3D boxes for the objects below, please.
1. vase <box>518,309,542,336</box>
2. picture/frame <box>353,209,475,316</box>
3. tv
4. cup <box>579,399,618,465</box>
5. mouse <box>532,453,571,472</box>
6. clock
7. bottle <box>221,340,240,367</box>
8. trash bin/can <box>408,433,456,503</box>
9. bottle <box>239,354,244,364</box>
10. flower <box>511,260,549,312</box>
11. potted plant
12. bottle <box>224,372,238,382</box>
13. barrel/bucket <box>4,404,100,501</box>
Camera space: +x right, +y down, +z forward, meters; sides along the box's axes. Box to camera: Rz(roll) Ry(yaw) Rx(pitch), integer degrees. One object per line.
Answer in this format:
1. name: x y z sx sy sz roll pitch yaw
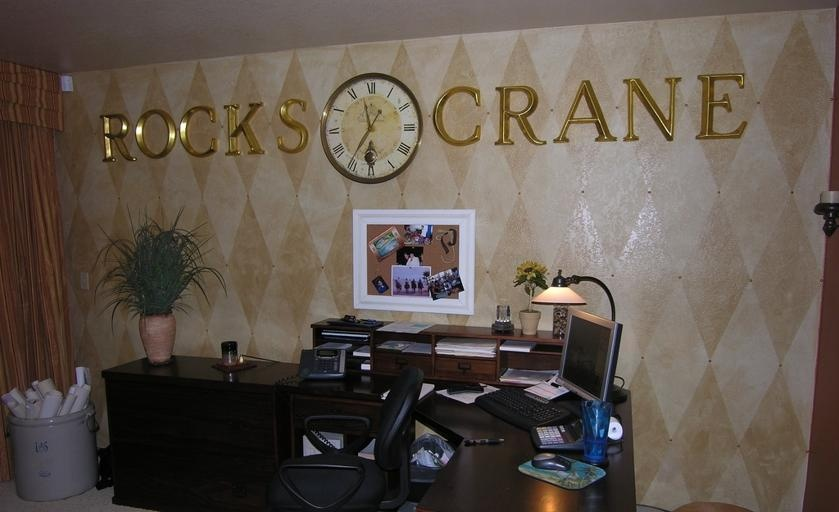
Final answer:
1. vase: 0.917 0.564 5.503 0.201 0.215 0.202 -1 -4 17
2. picture/frame: -0.010 0.038 5.865 0.963 0.769 0.046 0 5 11
3. tv: 1.256 0.834 4.907 0.313 0.687 0.595 12 10 -27
4. cup: 1.229 1.193 4.482 0.247 0.412 0.138 0 3 -19
5. mouse: 0.874 1.358 4.365 0.189 0.057 0.114 -2 3 16
6. clock: -0.396 -1.148 5.886 1.011 1.010 0.140 1 4 5
7. bottle: -1.729 0.854 5.910 0.195 0.315 0.218 -1 3 -18
8. trash bin/can: 0.083 1.729 5.433 0.291 0.393 0.400 -6 -4 29
9. bottle: -1.651 0.949 6.029 0.042 0.058 0.058 0 3 0
10. flower: 0.948 0.245 5.585 0.273 0.338 0.294 6 3 21
11. potted plant: -2.502 0.260 6.170 1.199 1.404 0.558 1 3 18
12. bottle: -1.617 1.033 5.608 0.066 0.066 0.065 4 10 12
13. barrel/bucket: -3.391 1.716 6.123 0.815 0.777 0.761 1 5 0
